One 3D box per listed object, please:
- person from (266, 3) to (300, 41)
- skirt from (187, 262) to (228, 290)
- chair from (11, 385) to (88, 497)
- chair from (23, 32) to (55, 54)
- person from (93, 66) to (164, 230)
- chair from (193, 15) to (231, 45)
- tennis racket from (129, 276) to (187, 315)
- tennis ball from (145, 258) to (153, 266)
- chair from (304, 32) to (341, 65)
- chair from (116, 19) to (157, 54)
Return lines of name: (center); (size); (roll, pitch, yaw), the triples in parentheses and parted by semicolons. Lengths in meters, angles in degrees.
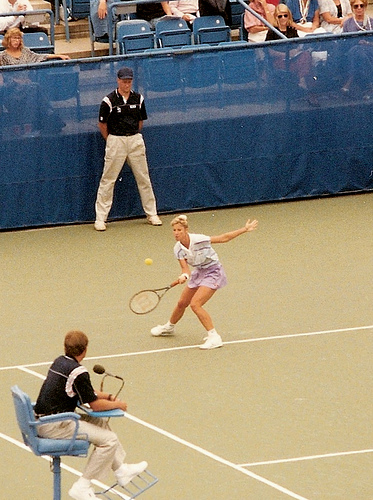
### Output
person: (1.728, -4.127, 12.448); (0.519, 0.699, 0.990); (0, 9, 17)
skirt: (0.215, 0.305, 7.433); (0.475, 0.282, 0.268); (-2, -7, 9)
chair: (-0.862, 1.204, 4.410); (0.448, 0.737, 0.340); (-5, 9, -14)
chair: (-2.604, -3.695, 12.014); (0.667, 0.411, 0.598); (-2, 14, -9)
person: (-1.011, -1.546, 10.966); (1.105, 2.479, 1.406); (-4, 9, -2)
chair: (0.485, -4.424, 13.712); (0.789, 0.627, 0.504); (-6, 9, -18)
tennis racket: (-0.493, 0.569, 7.538); (0.956, 0.275, 0.065); (-23, 13, 40)
tennis ball: (-0.483, 0.155, 8.695); (0.069, 0.065, 0.080); (27, 0, -20)
chair: (2.337, -3.435, 11.867); (0.574, 0.526, 0.336); (-5, -31, -2)
chair: (-0.931, -4.030, 13.054); (0.886, 0.742, 0.723); (-8, 18, -19)
